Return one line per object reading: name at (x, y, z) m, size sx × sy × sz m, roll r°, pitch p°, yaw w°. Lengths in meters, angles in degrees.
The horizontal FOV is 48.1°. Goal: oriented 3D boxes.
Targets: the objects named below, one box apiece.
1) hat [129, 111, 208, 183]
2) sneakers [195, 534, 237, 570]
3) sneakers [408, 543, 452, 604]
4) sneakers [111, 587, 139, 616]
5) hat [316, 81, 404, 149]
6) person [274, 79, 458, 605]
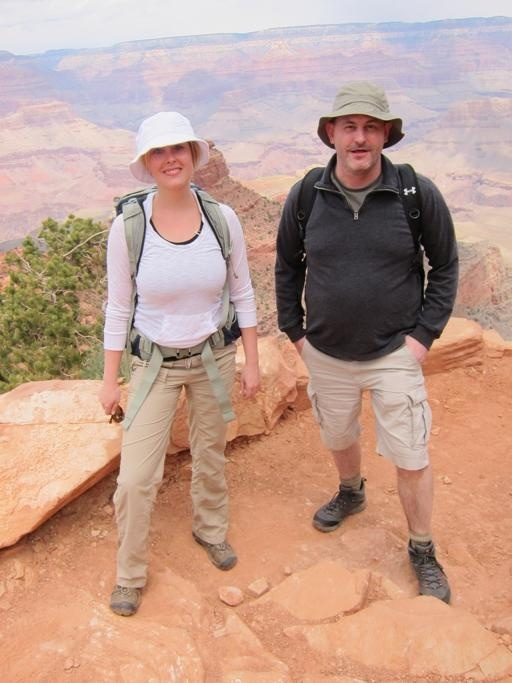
hat at (-0.368, -0.839, 2.384) m, size 0.344 × 0.149 × 0.262 m, roll -9°, pitch 2°, yaw 6°
sneakers at (-0.213, 1.092, 3.041) m, size 0.211 × 0.084 × 0.098 m, roll 33°, pitch 41°, yaw 28°
sneakers at (0.794, 1.055, 2.672) m, size 0.134 × 0.140 × 0.318 m, roll -21°, pitch 45°, yaw 14°
sneakers at (-0.580, 1.132, 2.520) m, size 0.074 × 0.071 × 0.166 m, roll 2°, pitch 5°, yaw -9°
hat at (0.465, -1.024, 2.531) m, size 0.363 × 0.178 × 0.406 m, roll 2°, pitch 10°, yaw 21°
person at (0.544, 0.006, 2.713) m, size 1.005 × 2.271 × 0.413 m, roll 10°, pitch 16°, yaw 36°
